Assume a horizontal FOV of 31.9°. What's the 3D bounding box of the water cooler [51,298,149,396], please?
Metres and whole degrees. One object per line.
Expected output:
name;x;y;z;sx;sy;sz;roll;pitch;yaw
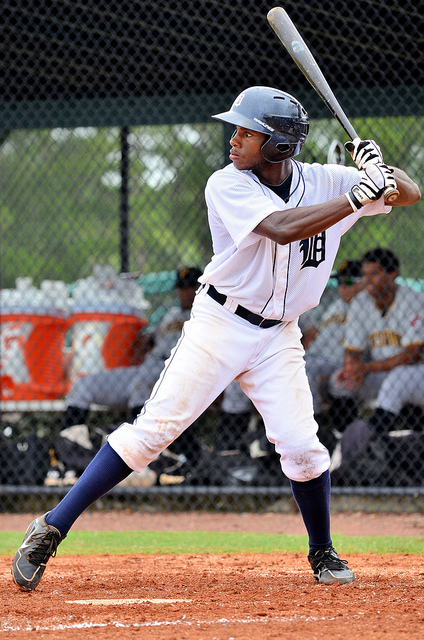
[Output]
water cooler;-0.656;0.130;4.422;0.567;0.622;0.382;5;-12;-25

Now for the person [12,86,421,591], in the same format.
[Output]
person;0.095;0.049;2.051;0.944;1.328;0.536;-7;-13;30
